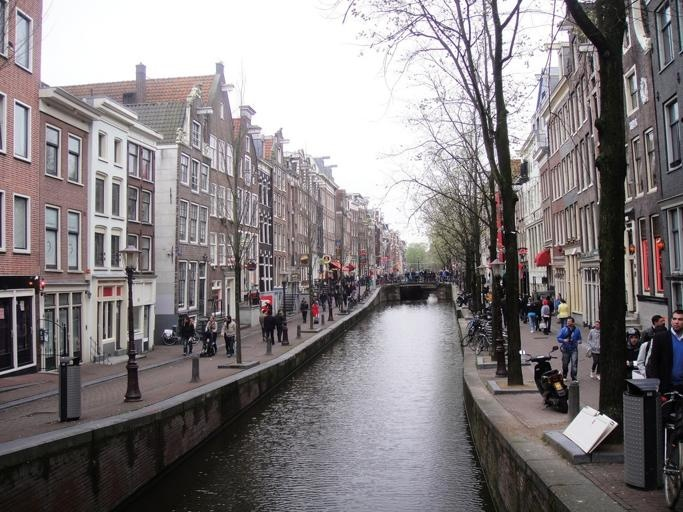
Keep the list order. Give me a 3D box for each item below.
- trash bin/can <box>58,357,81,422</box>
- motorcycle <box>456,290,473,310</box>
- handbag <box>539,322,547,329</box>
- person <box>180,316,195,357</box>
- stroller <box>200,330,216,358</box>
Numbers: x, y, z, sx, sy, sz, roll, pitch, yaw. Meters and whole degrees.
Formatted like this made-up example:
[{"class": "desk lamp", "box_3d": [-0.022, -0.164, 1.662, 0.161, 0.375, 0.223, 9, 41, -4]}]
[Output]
[{"class": "trash bin/can", "box_3d": [-6.670, 3.258, 16.419, 0.462, 1.566, 0.776, -1, -6, -28]}, {"class": "motorcycle", "box_3d": [11.032, 3.928, 60.566, 1.107, 1.254, 1.938, 3, -8, -16]}, {"class": "handbag", "box_3d": [10.372, 3.568, 34.378, 0.309, 0.351, 0.325, 1, 0, 39]}, {"class": "person", "box_3d": [-7.430, 3.836, 32.349, 0.588, 1.873, 1.466, -3, -6, -15]}, {"class": "stroller", "box_3d": [-6.032, 3.948, 30.427, 0.582, 1.176, 0.580, -3, -5, -16]}]
